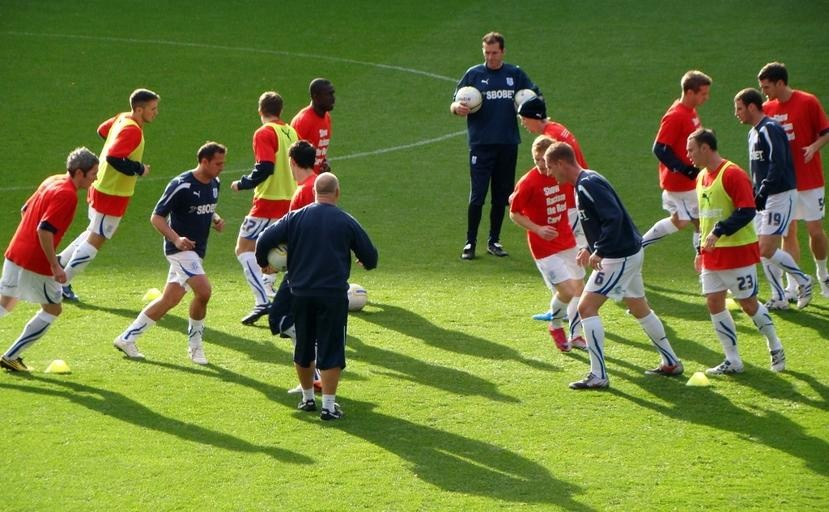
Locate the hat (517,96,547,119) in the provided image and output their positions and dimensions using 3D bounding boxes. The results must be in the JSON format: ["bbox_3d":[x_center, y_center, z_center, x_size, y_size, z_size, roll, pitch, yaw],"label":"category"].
[{"bbox_3d":[1.876,-2.264,20.263,0.488,0.316,0.307,-7,30,-11],"label":"hat"}]

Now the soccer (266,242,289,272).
[{"bbox_3d":[-1.856,0.010,18.005,0.307,0.323,0.334,5,39,-11],"label":"soccer"}]
